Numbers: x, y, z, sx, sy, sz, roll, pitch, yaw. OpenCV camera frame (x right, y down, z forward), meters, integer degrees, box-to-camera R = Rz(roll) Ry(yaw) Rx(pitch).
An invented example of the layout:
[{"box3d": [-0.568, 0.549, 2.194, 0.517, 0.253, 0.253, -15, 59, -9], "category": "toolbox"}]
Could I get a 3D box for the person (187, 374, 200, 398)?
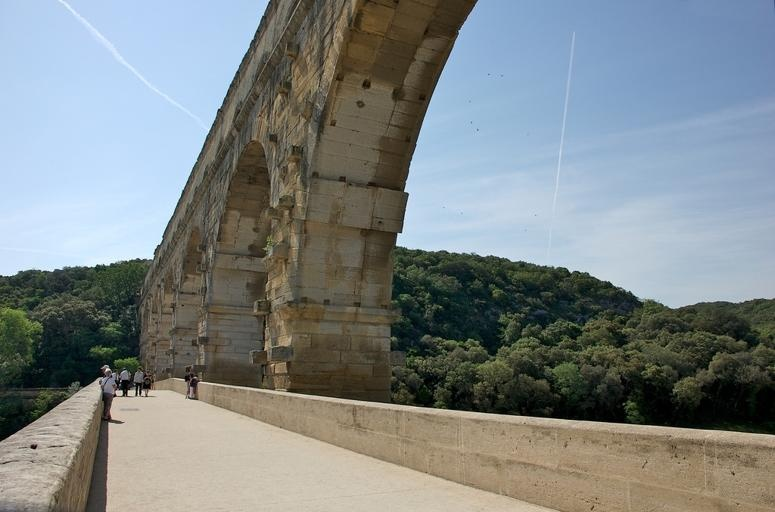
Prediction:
[{"box3d": [-6.343, 4.248, 16.590, 0.260, 0.705, 0.856, 6, -12, -28], "category": "person"}]
